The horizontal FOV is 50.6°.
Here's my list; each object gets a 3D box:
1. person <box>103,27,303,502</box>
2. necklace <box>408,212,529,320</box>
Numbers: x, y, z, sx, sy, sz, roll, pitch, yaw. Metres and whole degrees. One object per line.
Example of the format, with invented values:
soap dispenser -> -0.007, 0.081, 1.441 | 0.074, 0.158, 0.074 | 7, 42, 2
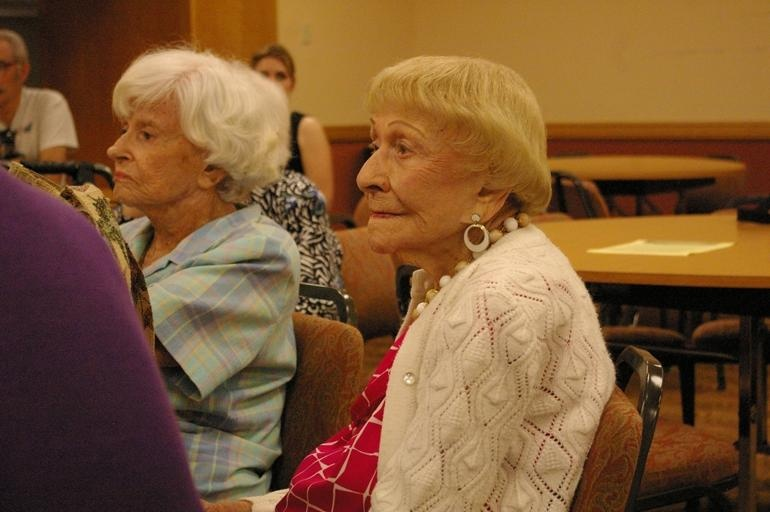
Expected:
person -> -0.546, 0.107, 2.215 | 0.587, 1.299, 0.563 | 7, 7, 33
necklace -> 0.164, 0.028, 1.651 | 0.231, 0.188, 0.064 | -42, 39, 17
